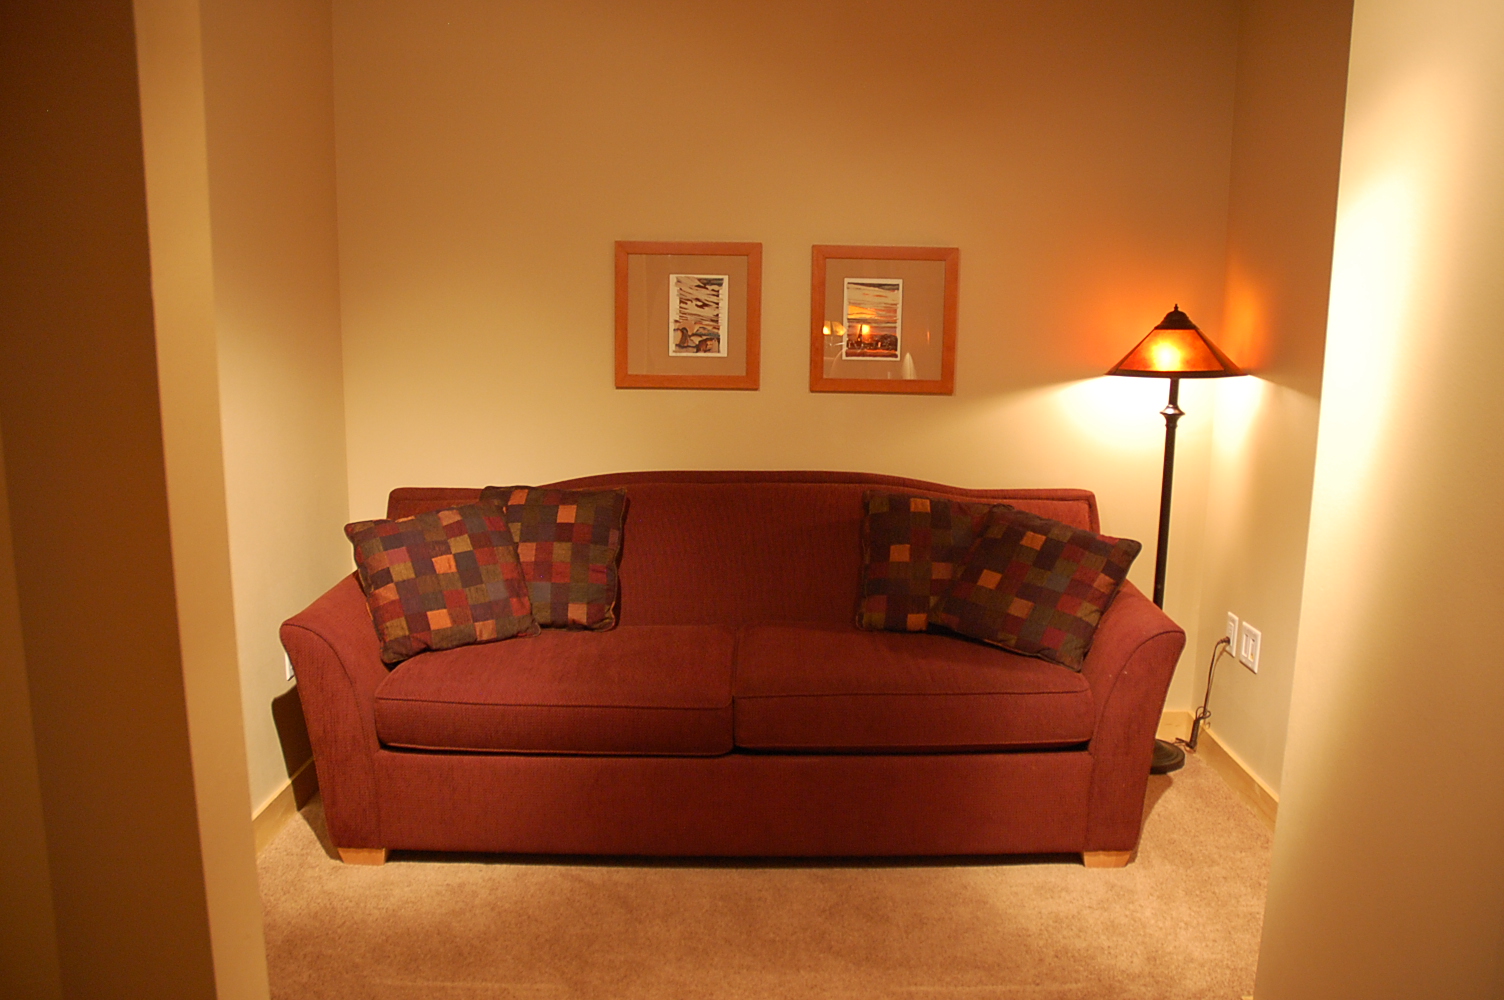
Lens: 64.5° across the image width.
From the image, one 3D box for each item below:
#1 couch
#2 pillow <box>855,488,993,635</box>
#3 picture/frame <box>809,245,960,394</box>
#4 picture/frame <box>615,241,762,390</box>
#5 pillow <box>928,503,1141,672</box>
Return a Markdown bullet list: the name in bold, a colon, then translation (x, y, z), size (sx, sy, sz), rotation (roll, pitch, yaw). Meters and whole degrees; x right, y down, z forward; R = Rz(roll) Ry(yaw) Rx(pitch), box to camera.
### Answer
- **couch**: translation (-0.044, 0.421, 3.333), size (2.180, 0.868, 0.938), rotation (1, 12, 0)
- **pillow**: translation (0.508, 0.159, 3.420), size (0.503, 0.465, 0.147), rotation (-8, -17, 39)
- **picture/frame**: translation (0.412, -0.589, 3.715), size (0.447, 0.426, 0.032), rotation (1, 5, -4)
- **picture/frame**: translation (-0.205, -0.603, 3.714), size (0.447, 0.439, 0.029), rotation (0, 10, -1)
- **pillow**: translation (0.758, 0.217, 3.255), size (0.500, 0.501, 0.135), rotation (8, -26, 21)
